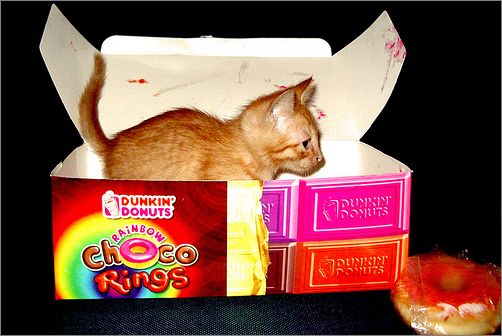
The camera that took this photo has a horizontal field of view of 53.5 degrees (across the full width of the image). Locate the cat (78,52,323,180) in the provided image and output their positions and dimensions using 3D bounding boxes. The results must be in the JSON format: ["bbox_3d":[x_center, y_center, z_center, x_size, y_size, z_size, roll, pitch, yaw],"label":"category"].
[{"bbox_3d":[-0.131,-0.279,2.427,1.208,0.855,0.400,-2,15,-6],"label":"cat"}]
